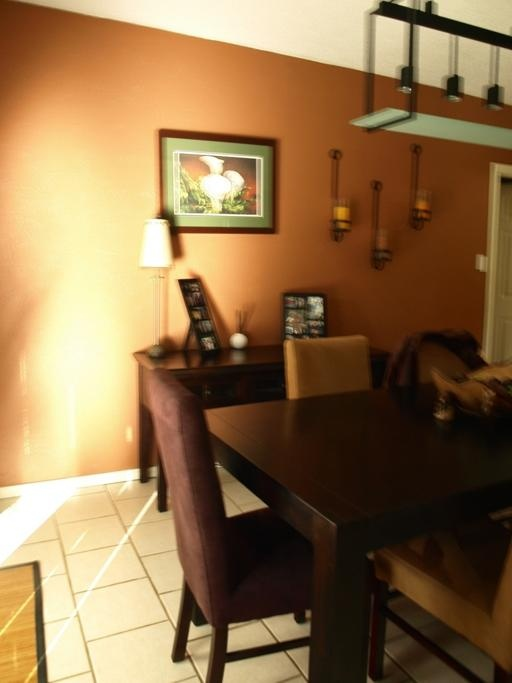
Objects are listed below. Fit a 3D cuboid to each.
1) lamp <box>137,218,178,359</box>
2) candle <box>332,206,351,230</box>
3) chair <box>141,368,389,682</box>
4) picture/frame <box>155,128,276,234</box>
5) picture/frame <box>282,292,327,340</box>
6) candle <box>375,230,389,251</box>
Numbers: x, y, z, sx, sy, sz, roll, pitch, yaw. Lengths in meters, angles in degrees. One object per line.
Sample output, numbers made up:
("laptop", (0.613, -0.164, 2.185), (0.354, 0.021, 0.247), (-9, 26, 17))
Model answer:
("lamp", (-0.536, -0.301, 2.886), (0.171, 0.761, 0.306), (-2, 6, -10))
("candle", (0.558, -0.806, 3.522), (0.148, 0.155, 0.130), (-1, 10, -29))
("chair", (0.018, 0.349, 1.872), (0.716, 1.360, 0.694), (-5, 12, -16))
("picture/frame", (-0.264, -0.938, 3.061), (0.654, 0.515, 0.027), (-5, 12, -29))
("picture/frame", (0.308, -0.158, 3.302), (0.263, 0.335, 0.036), (2, 32, 8))
("candle", (0.880, -0.704, 3.685), (0.118, 0.135, 0.061), (-5, 7, -36))
